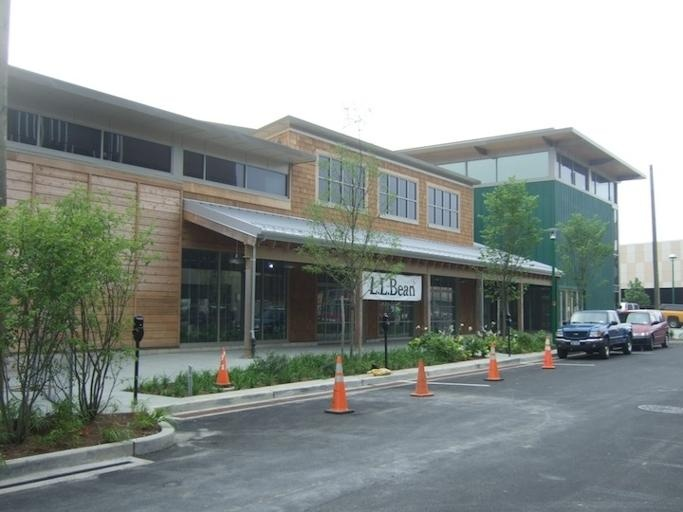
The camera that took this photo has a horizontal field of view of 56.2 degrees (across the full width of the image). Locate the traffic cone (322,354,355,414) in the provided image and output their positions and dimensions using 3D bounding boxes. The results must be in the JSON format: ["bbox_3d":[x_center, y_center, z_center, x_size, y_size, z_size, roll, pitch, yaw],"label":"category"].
[{"bbox_3d":[-0.025,2.604,13.065,0.685,1.107,0.699,-1,-3,-11],"label":"traffic cone"}]

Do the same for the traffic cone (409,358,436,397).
[{"bbox_3d":[1.942,2.839,15.280,0.506,0.970,1.341,1,1,7],"label":"traffic cone"}]

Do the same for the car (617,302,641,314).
[{"bbox_3d":[18.125,3.266,40.368,1.522,0.684,0.767,9,-14,-41],"label":"car"}]

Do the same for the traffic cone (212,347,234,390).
[{"bbox_3d":[-3.105,2.935,16.699,0.787,1.088,0.774,3,-8,-31],"label":"traffic cone"}]

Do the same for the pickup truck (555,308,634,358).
[{"bbox_3d":[10.632,3.165,26.662,2.031,1.786,4.734,-2,-4,39],"label":"pickup truck"}]

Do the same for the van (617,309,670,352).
[{"bbox_3d":[14.339,3.449,30.837,2.340,2.378,2.721,0,-3,29],"label":"van"}]
